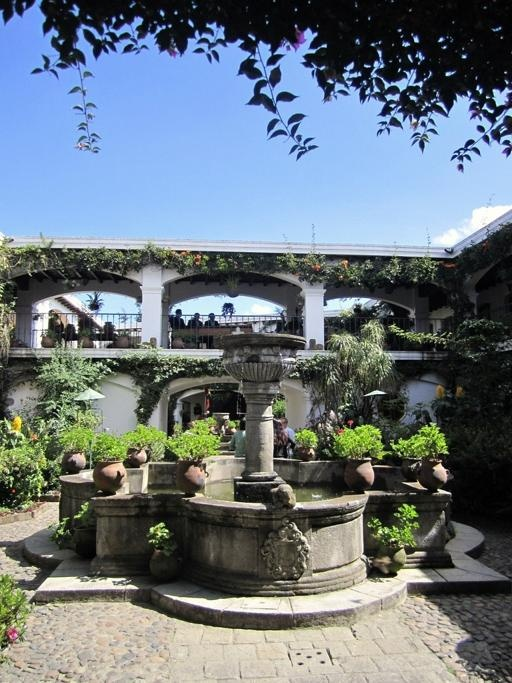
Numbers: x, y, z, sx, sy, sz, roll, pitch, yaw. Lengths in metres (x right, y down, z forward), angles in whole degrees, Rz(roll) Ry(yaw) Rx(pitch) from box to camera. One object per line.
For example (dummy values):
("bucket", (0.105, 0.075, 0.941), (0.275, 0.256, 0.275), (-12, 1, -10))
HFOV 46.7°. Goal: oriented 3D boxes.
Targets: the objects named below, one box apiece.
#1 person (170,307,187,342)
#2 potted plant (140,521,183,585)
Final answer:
("person", (-2.149, -0.484, 16.187), (0.445, 0.806, 1.510), (-1, 7, -7))
("potted plant", (-0.766, 1.788, 5.032), (0.267, 0.484, 0.266), (-1, 7, -13))
